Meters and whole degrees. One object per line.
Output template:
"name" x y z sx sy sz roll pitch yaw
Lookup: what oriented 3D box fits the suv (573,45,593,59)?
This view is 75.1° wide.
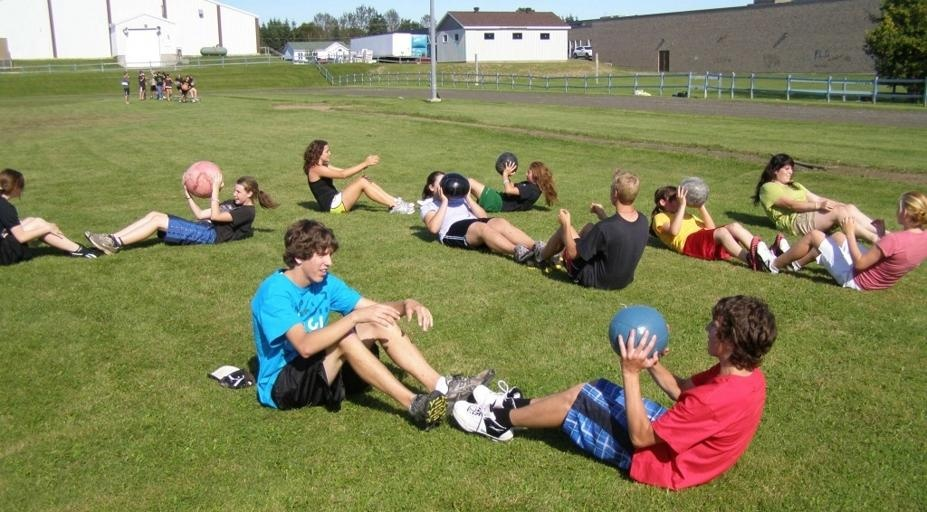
"suv" 16.058 -27.614 81.710 1.898 1.381 2.914 -14 17 -29

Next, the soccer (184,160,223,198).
"soccer" -5.163 -1.605 12.136 0.771 0.707 0.708 2 16 -10

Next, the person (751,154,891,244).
"person" 7.226 -1.130 12.002 1.123 1.489 2.581 -24 28 -39

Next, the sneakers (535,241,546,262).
"sneakers" 1.443 -0.068 11.009 0.168 0.383 0.142 6 -1 34

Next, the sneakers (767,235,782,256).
"sneakers" 5.835 -0.176 11.296 0.148 0.174 0.436 15 57 29

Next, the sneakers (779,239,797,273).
"sneakers" 5.874 -0.008 10.973 0.233 0.285 0.666 -11 31 12

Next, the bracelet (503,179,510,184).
"bracelet" 1.037 -1.706 13.913 0.131 0.116 0.132 -2 14 -20

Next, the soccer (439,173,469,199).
"soccer" -0.151 -1.336 11.875 0.545 0.476 0.506 8 2 29

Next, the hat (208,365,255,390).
"hat" -3.260 1.718 8.522 0.686 0.187 0.314 8 21 23

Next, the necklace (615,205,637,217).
"necklace" 2.724 -0.734 9.972 0.378 0.224 0.182 -4 20 -8
